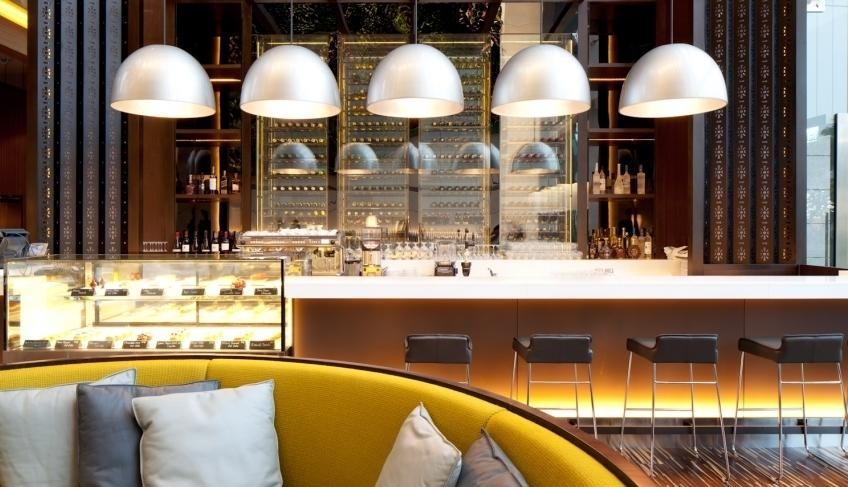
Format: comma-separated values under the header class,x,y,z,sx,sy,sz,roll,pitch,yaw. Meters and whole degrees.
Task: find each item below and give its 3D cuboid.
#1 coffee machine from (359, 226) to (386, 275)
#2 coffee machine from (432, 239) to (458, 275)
class,x,y,z,sx,sy,sz,roll,pitch,yaw
coffee machine,-0.776,0.227,13.216,0.356,0.808,0.450,2,-32,-7
coffee machine,0.312,0.225,13.398,0.357,0.526,0.384,-1,0,11
